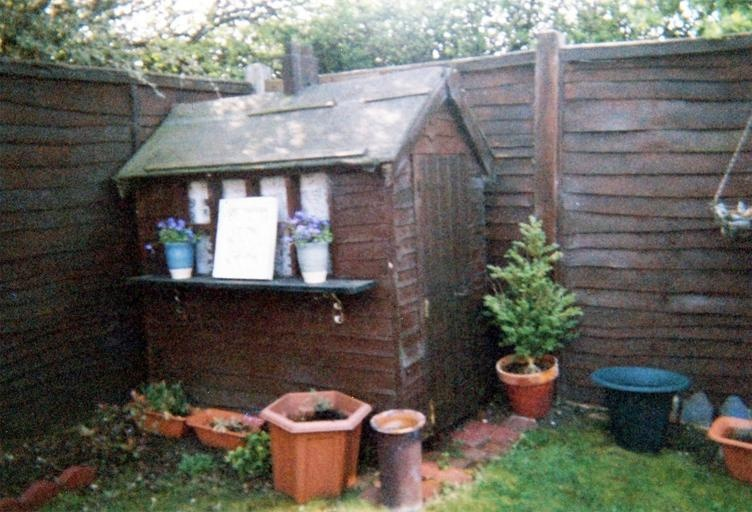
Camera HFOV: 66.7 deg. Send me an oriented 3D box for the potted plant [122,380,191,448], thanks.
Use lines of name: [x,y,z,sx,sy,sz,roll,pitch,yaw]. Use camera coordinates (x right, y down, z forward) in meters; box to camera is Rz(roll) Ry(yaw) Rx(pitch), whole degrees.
potted plant: [-2.254,1.590,5.932,0.637,0.519,0.398,1,9,-6]

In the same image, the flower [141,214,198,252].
flower: [-2.133,-0.202,5.864,0.592,0.397,0.283,8,12,36]

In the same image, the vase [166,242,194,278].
vase: [-2.003,0.052,5.823,0.322,0.351,0.327,-3,2,32]

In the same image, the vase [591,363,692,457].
vase: [2.605,1.519,5.644,0.883,0.657,0.905,-1,0,36]

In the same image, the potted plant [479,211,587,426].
potted plant: [1.661,0.641,6.172,1.036,2.110,0.827,3,10,7]

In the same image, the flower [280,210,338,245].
flower: [-0.657,-0.268,5.265,0.371,0.194,0.297,-1,4,21]

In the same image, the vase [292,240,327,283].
vase: [-0.606,0.056,5.338,0.372,0.371,0.350,-4,1,-27]

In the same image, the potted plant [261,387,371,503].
potted plant: [-0.583,1.821,5.190,0.894,0.602,0.807,-11,-17,38]
